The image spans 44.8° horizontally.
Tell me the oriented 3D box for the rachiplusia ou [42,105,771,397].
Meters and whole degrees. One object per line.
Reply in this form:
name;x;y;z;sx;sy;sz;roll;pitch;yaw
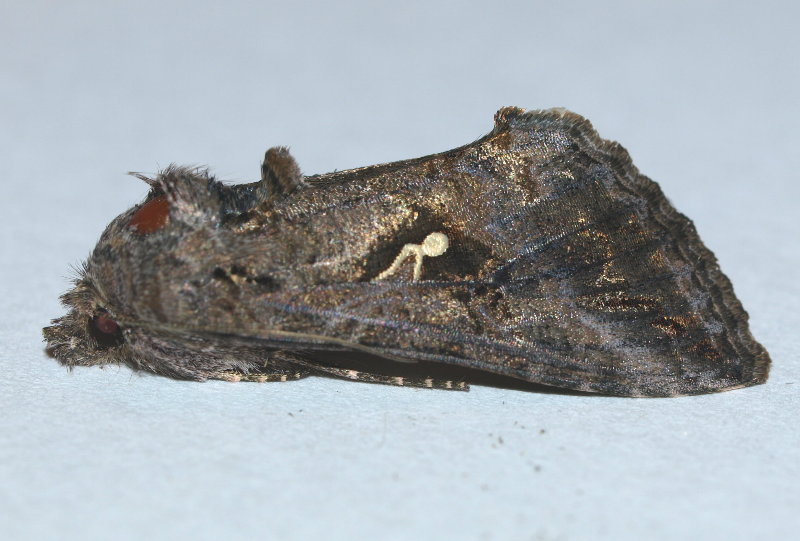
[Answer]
rachiplusia ou;-0.191;0.060;5.176;3.654;2.175;1.028;-12;-48;-10
